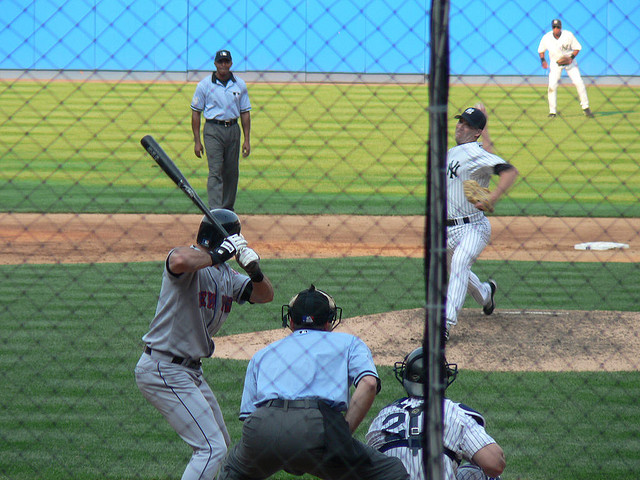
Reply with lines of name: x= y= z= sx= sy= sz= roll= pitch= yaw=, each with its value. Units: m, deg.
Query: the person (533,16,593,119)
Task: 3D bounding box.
person: x=3.839 y=-2.795 z=17.439 sx=0.825 sy=1.579 sz=0.797 roll=-2 pitch=16 yaw=26

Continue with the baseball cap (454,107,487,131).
baseball cap: x=1.749 y=-1.439 z=12.624 sx=0.342 sy=0.200 sz=0.248 roll=28 pitch=8 yaw=-30

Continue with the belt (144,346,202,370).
belt: x=-1.321 y=1.165 z=10.406 sx=0.321 sy=0.097 sz=0.300 roll=9 pitch=5 yaw=-13

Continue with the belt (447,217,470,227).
belt: x=1.602 y=-0.211 z=12.676 sx=0.226 sy=0.087 sz=0.172 roll=-9 pitch=-4 yaw=31

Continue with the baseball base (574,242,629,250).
baseball base: x=4.258 y=0.098 z=16.577 sx=0.792 sy=0.109 sz=0.489 roll=0 pitch=11 yaw=13

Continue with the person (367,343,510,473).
person: x=1.239 y=1.589 z=10.650 sx=1.179 sy=1.181 sz=1.511 roll=1 pitch=-5 yaw=20

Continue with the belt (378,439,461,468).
belt: x=0.905 y=1.972 z=9.992 sx=0.748 sy=0.231 sz=0.111 roll=0 pitch=12 yaw=15

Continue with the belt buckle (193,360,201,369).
belt buckle: x=-1.165 y=1.205 z=10.438 sx=0.017 sy=0.063 sz=0.064 roll=31 pitch=-13 yaw=-1

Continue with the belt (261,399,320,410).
belt: x=-0.260 y=1.522 z=9.997 sx=0.512 sy=0.086 sz=0.055 roll=-1 pitch=11 yaw=7
